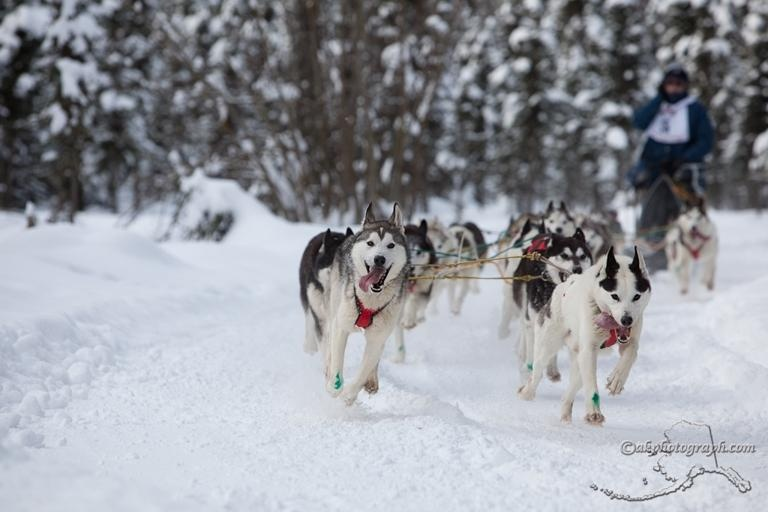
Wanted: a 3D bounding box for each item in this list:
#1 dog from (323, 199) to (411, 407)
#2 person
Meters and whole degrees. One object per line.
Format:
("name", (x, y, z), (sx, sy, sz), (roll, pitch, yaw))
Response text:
("dog", (-0.187, 0.496, 8.482), (0.960, 2.040, 0.585), (-4, 8, 1))
("person", (4.406, -1.608, 12.477), (1.107, 2.594, 1.243), (-4, 8, 4))
